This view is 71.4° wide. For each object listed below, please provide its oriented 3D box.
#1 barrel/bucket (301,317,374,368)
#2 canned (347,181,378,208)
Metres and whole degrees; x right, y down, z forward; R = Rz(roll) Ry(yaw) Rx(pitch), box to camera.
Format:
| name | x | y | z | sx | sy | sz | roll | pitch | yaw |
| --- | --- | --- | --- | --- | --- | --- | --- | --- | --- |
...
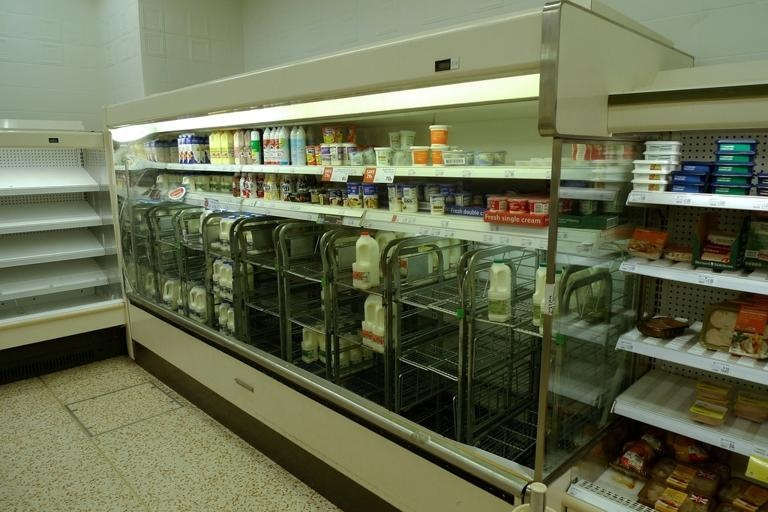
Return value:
| name | x | y | z | sx | sy | sz | roll | pitch | yaw |
| --- | --- | --- | --- | --- | --- | --- | --- | --- | --- |
| barrel/bucket | -0.324 | 0.646 | 4.106 | 0.755 | 0.353 | 0.410 | 4 | -8 | 17 |
| canned | -0.157 | -0.408 | 3.585 | 0.201 | 0.126 | 0.191 | -7 | 16 | -36 |
